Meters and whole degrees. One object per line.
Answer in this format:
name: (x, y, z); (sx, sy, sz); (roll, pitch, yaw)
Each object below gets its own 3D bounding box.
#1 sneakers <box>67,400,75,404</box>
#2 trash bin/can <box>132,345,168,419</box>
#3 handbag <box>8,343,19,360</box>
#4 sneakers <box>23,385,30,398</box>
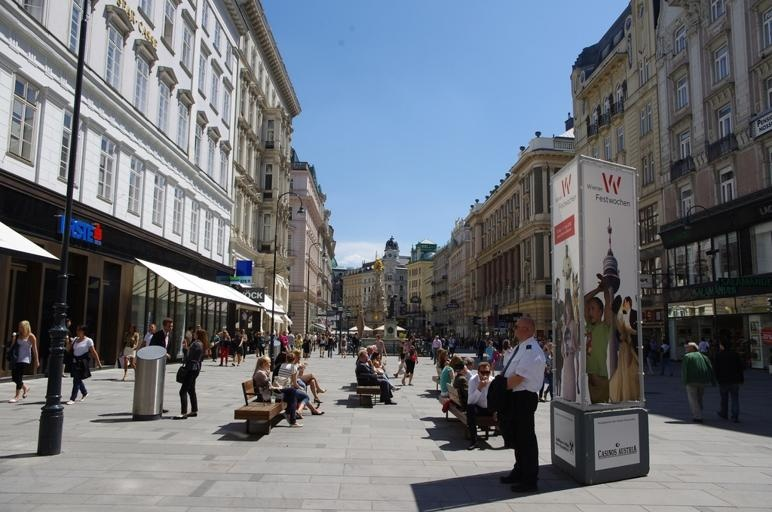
sneakers: (-9.557, 4.428, 19.255); (0.148, 0.114, 0.304); (1, -17, -11)
trash bin/can: (-6.627, 3.542, 17.802); (0.778, 2.041, 0.647); (5, -13, -25)
handbag: (-11.036, 2.840, 18.809); (0.122, 0.558, 0.298); (15, -13, -35)
sneakers: (-11.189, 4.207, 19.749); (0.156, 0.516, 0.190); (-1, -8, -14)
